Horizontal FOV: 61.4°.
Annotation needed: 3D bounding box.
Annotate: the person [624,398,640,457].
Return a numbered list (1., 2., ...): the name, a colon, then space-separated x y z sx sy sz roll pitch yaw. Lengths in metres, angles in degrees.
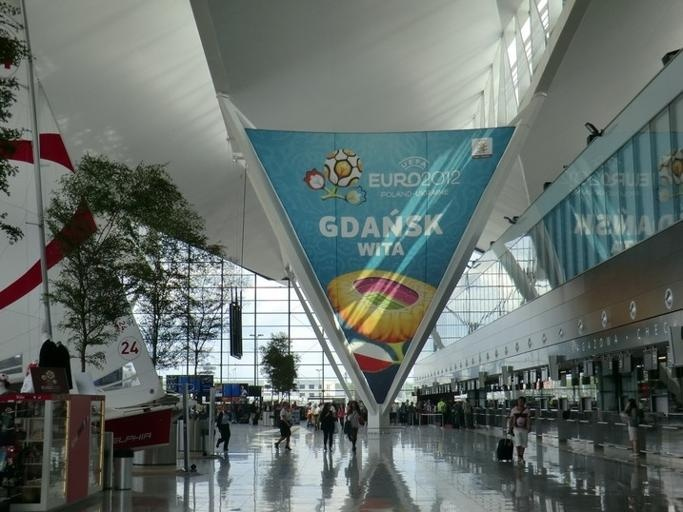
1. person: 8.773 5.121 17.293 0.371 1.590 0.969 -8 -18 25

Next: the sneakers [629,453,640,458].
1. sneakers: 8.749 5.988 17.207 0.158 0.076 0.212 0 -7 13

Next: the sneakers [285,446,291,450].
1. sneakers: -2.074 7.522 22.469 0.185 0.126 0.529 2 -18 -8

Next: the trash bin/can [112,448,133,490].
1. trash bin/can: -4.956 4.795 12.940 0.563 0.839 0.440 0 -16 -1
